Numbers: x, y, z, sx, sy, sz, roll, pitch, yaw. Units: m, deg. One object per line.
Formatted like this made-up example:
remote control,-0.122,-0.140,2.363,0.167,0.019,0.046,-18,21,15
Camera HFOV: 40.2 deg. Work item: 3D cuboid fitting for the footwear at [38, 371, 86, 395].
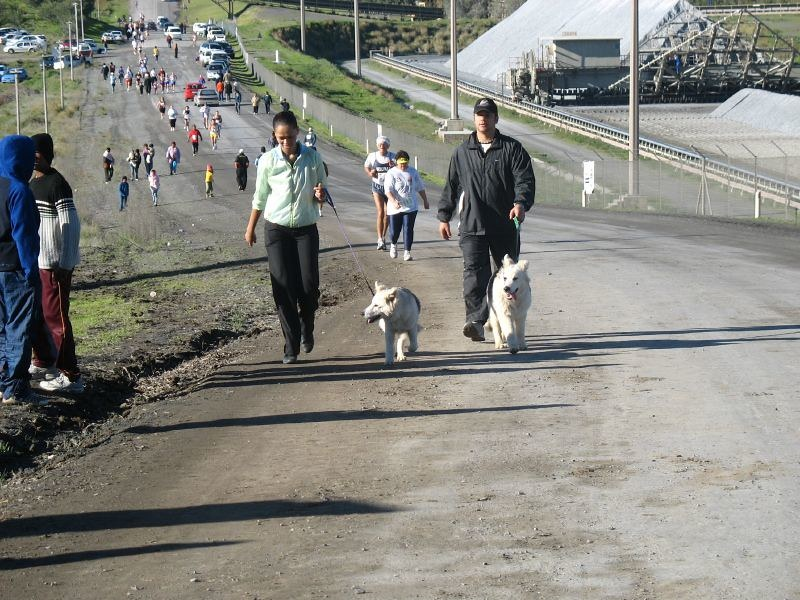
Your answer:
footwear,-3.567,0.889,11.552,0.466,0.232,0.208,7,3,-8

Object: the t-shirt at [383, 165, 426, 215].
t-shirt,0.060,-1.856,18.869,0.660,0.857,0.696,-4,10,0

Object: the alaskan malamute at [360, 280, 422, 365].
alaskan malamute,-0.047,0.271,12.458,0.414,0.842,0.661,6,14,44

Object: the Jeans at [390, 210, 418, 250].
Jeans,0.017,-1.324,19.402,0.425,1.041,0.331,3,40,1

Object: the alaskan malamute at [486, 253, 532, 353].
alaskan malamute,1.251,0.055,12.436,0.457,1.138,0.860,-3,10,3

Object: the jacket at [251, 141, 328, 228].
jacket,-1.238,-1.280,12.235,0.862,0.937,0.507,0,13,-10

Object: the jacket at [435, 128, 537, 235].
jacket,1.019,-1.357,12.679,1.151,1.208,0.567,0,-1,20
